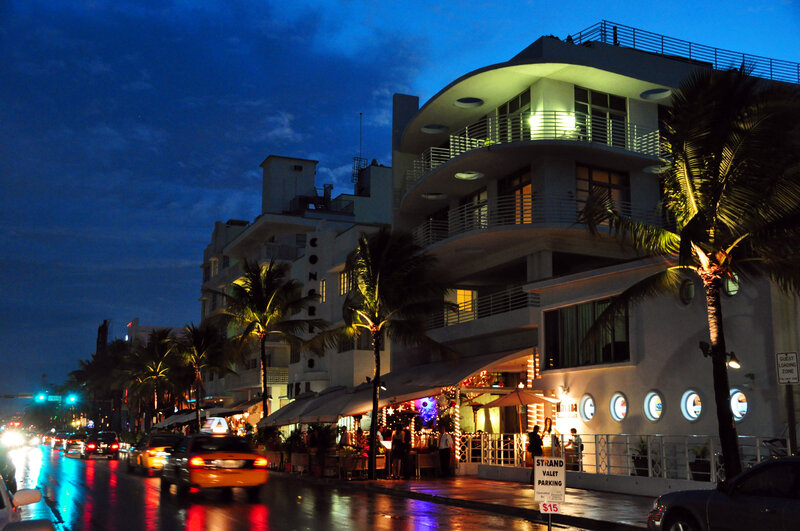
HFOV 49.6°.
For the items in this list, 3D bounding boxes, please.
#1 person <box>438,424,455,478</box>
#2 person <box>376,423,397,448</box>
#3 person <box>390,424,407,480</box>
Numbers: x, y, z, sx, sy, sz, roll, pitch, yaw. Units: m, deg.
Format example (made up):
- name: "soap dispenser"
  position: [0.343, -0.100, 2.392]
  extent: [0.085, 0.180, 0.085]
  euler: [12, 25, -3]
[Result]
- name: "person"
  position: [2.111, 8.535, 39.743]
  extent: [0.656, 2.388, 1.467]
  euler: [1, -14, 3]
- name: "person"
  position: [-0.645, 8.238, 41.536]
  extent: [0.805, 1.243, 1.188]
  euler: [12, -16, -33]
- name: "person"
  position: [-0.123, 8.498, 39.213]
  extent: [0.579, 2.348, 1.075]
  euler: [1, -14, 1]
